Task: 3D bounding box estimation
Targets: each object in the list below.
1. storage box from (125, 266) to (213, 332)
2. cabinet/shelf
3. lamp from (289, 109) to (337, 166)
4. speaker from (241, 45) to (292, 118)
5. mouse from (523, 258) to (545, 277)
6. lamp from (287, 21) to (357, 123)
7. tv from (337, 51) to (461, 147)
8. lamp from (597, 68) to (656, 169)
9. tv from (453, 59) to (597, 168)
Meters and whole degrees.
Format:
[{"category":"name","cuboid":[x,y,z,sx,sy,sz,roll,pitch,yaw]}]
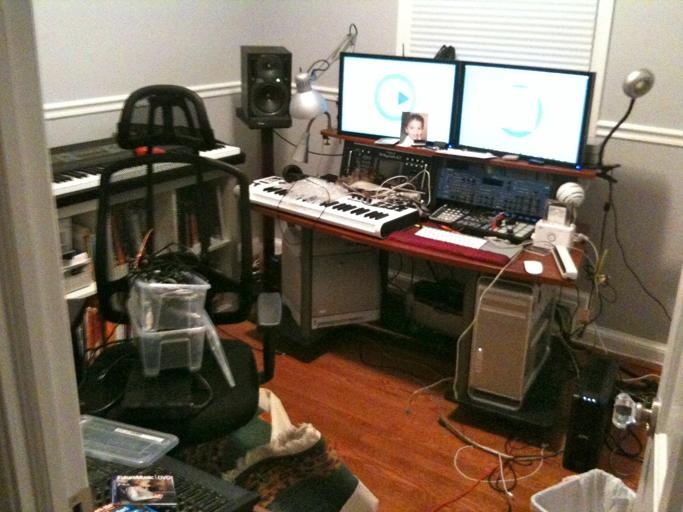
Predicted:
[{"category":"storage box","cuboid":[-0.577,0.133,1.900,0.174,0.112,0.240,-1,8,-30]},{"category":"cabinet/shelf","cuboid":[-0.600,-0.096,2.184,0.692,0.933,0.549,-3,21,-20]},{"category":"lamp","cuboid":[-0.167,-0.684,3.333,0.289,0.264,0.101,-6,-7,35]},{"category":"speaker","cuboid":[-0.443,-1.022,3.409,0.308,0.423,0.310,-13,30,-27]},{"category":"mouse","cuboid":[0.806,0.042,2.431,0.080,0.032,0.168,8,22,16]},{"category":"lamp","cuboid":[-0.088,-1.054,3.306,0.549,0.424,0.212,-29,32,-31]},{"category":"tv","cuboid":[0.318,-0.817,3.013,0.563,0.367,0.014,14,30,25]},{"category":"lamp","cuboid":[1.337,-0.630,2.742,0.182,0.496,0.502,12,24,24]},{"category":"tv","cuboid":[0.879,-0.670,2.709,0.526,0.340,0.067,18,31,26]}]
